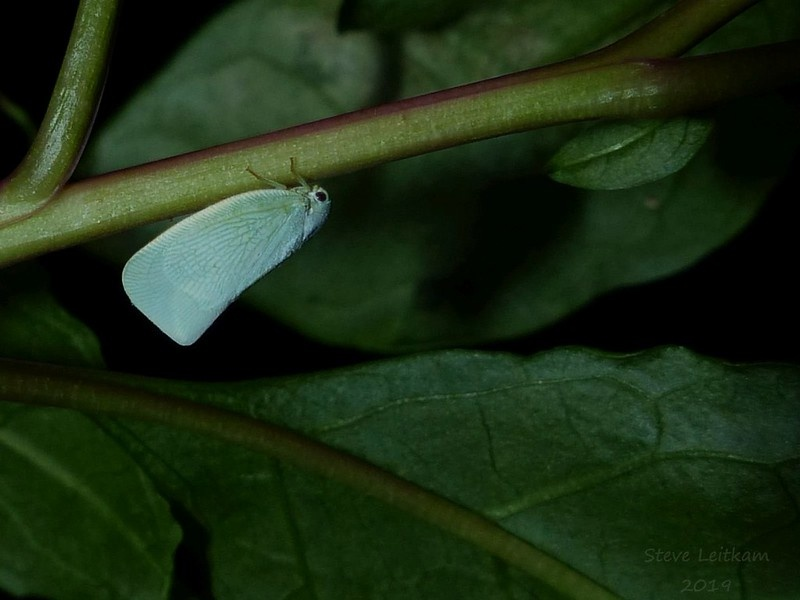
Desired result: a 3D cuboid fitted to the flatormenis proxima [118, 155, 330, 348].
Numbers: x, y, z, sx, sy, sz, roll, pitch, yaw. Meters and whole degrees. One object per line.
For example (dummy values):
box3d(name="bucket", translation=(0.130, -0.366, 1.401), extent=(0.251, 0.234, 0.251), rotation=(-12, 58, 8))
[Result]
box3d(name="flatormenis proxima", translation=(-0.300, -0.083, 1.656), extent=(0.358, 0.306, 0.242), rotation=(-9, 13, 12))
